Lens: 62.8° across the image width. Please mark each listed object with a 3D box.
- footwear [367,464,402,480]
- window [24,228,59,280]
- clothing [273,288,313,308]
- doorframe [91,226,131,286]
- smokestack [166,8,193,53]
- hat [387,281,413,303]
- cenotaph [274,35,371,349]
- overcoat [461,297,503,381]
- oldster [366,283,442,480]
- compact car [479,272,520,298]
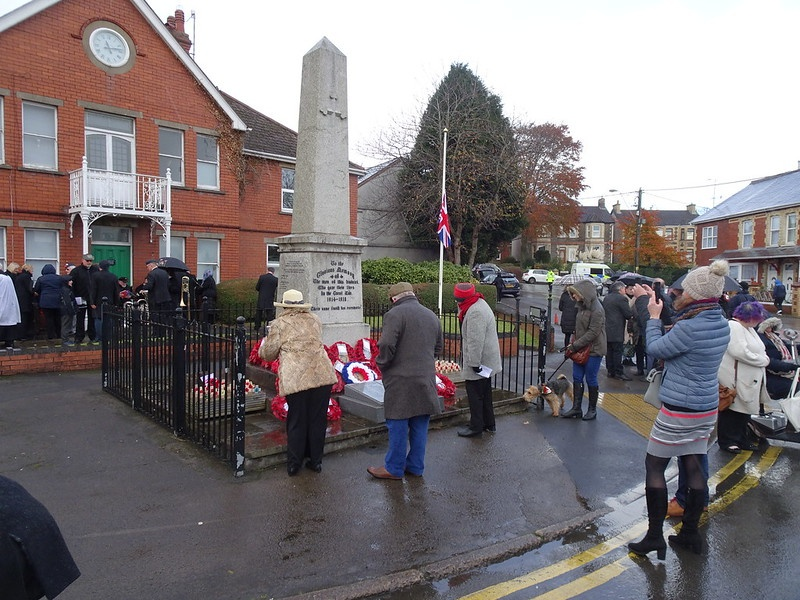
[{"bbox_3d":[-0.203,2.136,8.095,0.434,0.182,0.159,12,-5,5],"label":"footwear"},{"bbox_3d":[-9.880,-1.134,17.990,0.942,1.759,0.187,0,-29,-30],"label":"window"},{"bbox_3d":[-1.407,0.005,8.293,0.338,0.153,0.377,0,1,-34],"label":"clothing"},{"bbox_3d":[-8.530,-1.143,19.352,1.155,2.064,0.170,-2,-2,-41],"label":"doorframe"},{"bbox_3d":[-7.971,-9.675,23.393,1.049,1.619,1.072,2,24,-25],"label":"smokestack"},{"bbox_3d":[-0.016,-0.105,8.333,0.209,0.158,0.298,-6,1,-12],"label":"hat"},{"bbox_3d":[-1.277,-1.866,11.207,1.475,5.135,1.560,0,14,-10],"label":"cenotaph"},{"bbox_3d":[1.142,0.567,9.224,0.449,1.143,0.518,3,8,3],"label":"overcoat"},{"bbox_3d":[0.119,1.000,8.180,0.863,2.372,0.704,2,-3,-30],"label":"oldster"},{"bbox_3d":[5.431,-0.874,34.087,1.323,1.012,2.173,-3,14,-22],"label":"compact car"}]
